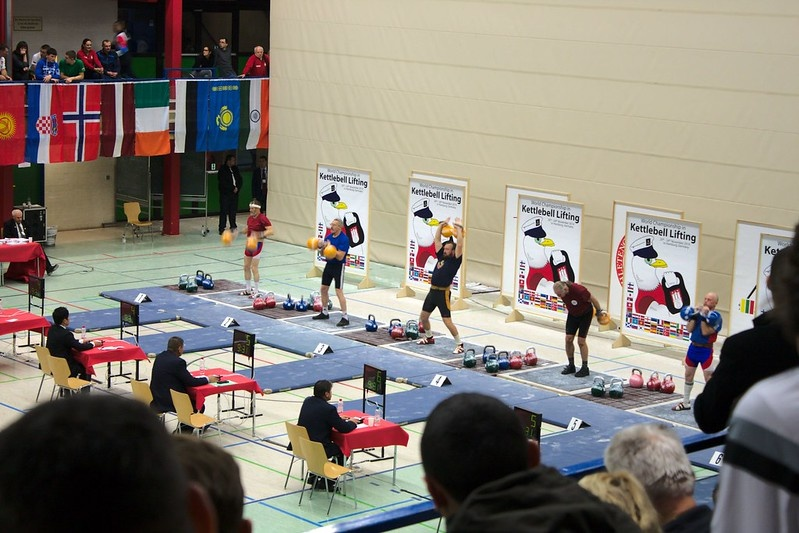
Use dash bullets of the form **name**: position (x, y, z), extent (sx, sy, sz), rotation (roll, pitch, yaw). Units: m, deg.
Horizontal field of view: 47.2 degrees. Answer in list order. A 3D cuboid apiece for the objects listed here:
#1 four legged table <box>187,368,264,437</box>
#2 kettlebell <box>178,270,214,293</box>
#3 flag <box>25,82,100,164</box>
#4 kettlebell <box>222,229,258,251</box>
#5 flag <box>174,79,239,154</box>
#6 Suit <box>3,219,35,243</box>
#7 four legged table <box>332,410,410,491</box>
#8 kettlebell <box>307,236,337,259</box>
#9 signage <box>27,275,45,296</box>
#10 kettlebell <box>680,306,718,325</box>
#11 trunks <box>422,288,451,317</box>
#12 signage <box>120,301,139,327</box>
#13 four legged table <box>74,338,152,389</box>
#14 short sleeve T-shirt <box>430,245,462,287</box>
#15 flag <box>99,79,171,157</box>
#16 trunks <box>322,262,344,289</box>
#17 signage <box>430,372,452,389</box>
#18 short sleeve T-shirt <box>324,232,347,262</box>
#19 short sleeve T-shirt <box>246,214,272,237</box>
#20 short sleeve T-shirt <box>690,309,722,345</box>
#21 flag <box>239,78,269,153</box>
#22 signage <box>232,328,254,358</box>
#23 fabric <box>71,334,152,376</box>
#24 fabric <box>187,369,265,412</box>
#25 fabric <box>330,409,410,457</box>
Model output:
- **four legged table**: position (-2.688, 1.936, 14.110), extent (1.057, 0.785, 1.035), rotation (-1, 4, -42)
- **kettlebell**: position (-4.887, 0.358, 22.048), extent (0.636, 0.345, 0.613), rotation (-1, 9, -10)
- **flag**: position (-8.822, -3.802, 23.794), extent (0.220, 1.747, 1.941), rotation (17, 21, 42)
- **kettlebell**: position (-3.420, -0.588, 19.992), extent (0.845, 0.425, 0.378), rotation (15, 9, 36)
- **flag**: position (-5.717, -4.497, 26.958), extent (2.042, 1.990, 0.147), rotation (-9, 18, -32)
- **Suit**: position (-9.472, -0.903, 22.728), extent (0.660, 0.599, 0.351), rotation (-2, -2, -35)
- **four legged table**: position (-0.486, 2.330, 12.472), extent (0.856, 0.769, 1.126), rotation (-3, 8, -30)
- **kettlebell**: position (-1.770, -0.452, 21.173), extent (0.232, 0.286, 0.902), rotation (26, -2, -27)
- **signage**: position (-7.271, 0.382, 18.324), extent (0.063, 0.326, 0.454), rotation (-7, 12, -38)
- **kettlebell**: position (4.958, 0.795, 15.110), extent (0.628, 0.279, 0.263), rotation (7, -25, -16)
- **trunks**: position (0.775, 0.724, 18.505), extent (0.632, 0.604, 0.363), rotation (8, -13, 34)
- **signage**: position (-4.944, 0.872, 16.782), extent (0.078, 0.434, 0.459), rotation (-13, 22, -38)
- **four legged table**: position (-4.811, 1.643, 15.205), extent (0.923, 0.511, 0.909), rotation (-9, 15, -44)
- **short sleeve T-shirt**: position (0.925, 0.022, 18.201), extent (0.474, 0.761, 0.520), rotation (3, 6, 12)
- **flag**: position (-7.372, -4.163, 25.315), extent (0.162, 1.696, 1.994), rotation (17, 23, 41)
- **trunks**: position (-1.444, 0.181, 20.111), extent (0.504, 0.685, 0.383), rotation (10, 12, 21)
- **signage**: position (0.753, 2.010, 16.276), extent (0.413, 0.183, 0.374), rotation (1, 7, -12)
- **short sleeve T-shirt**: position (-1.332, -0.412, 19.848), extent (0.446, 0.672, 0.843), rotation (1, 6, -6)
- **short sleeve T-shirt**: position (-3.266, -0.951, 21.296), extent (0.572, 0.560, 0.311), rotation (25, 6, 42)
- **short sleeve T-shirt**: position (4.882, 0.945, 14.646), extent (0.368, 0.611, 0.617), rotation (14, -11, -43)
- **flag**: position (-4.469, -4.737, 28.054), extent (0.173, 2.431, 1.938), rotation (8, 11, 39)
- **signage**: position (-2.663, 1.315, 15.602), extent (0.087, 0.476, 0.633), rotation (2, 2, -40)
- **fabric**: position (-4.795, 1.421, 15.060), extent (0.686, 0.258, 0.677), rotation (-13, 19, -37)
- **fabric**: position (-2.657, 1.795, 13.788), extent (0.772, 0.205, 0.777), rotation (-6, 12, -30)
- **fabric**: position (-0.380, 2.255, 12.261), extent (0.601, 0.171, 0.704), rotation (-4, 11, -30)
